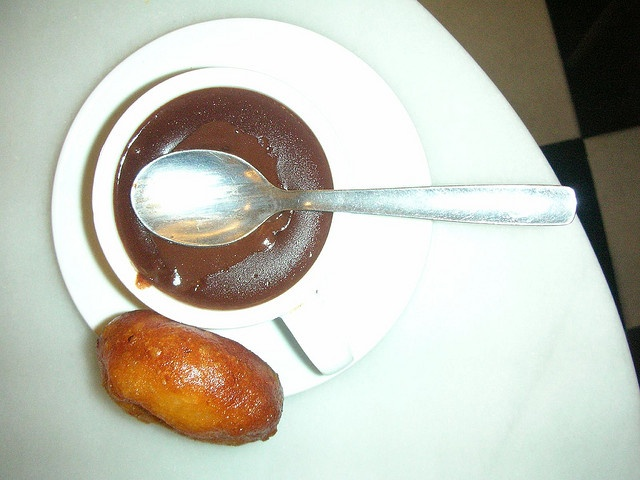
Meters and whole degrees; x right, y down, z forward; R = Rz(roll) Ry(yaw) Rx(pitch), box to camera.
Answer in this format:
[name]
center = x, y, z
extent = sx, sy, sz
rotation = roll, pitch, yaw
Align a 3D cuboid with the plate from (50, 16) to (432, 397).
[plate]
center = -0.229, -0.093, 1.388
extent = 0.094, 0.614, 0.614
rotation = -49, 28, -12
